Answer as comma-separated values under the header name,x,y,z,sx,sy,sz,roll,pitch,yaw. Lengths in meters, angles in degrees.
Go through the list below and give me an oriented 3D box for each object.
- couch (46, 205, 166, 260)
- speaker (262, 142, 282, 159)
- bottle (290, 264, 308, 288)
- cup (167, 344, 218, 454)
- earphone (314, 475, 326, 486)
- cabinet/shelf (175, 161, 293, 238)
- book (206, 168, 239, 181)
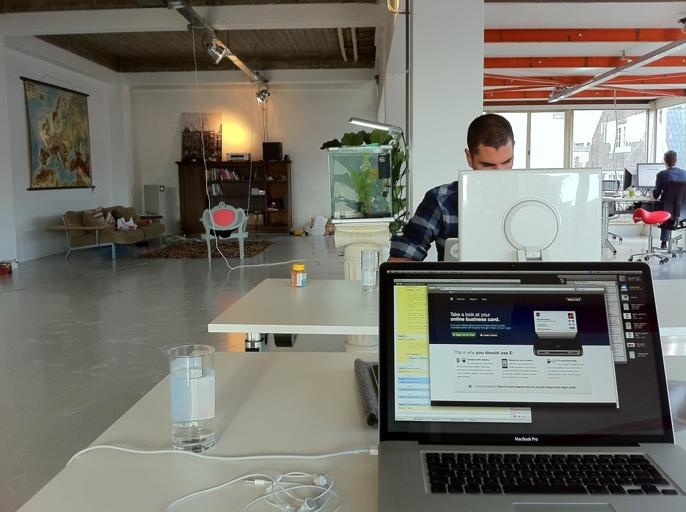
name,x,y,z,sx,sy,sz,roll,pitch,yaw
couch,-4.350,-0.464,9.830,1.484,0.811,2.650,-3,9,-12
speaker,-1.648,-2.417,12.258,0.374,0.422,0.394,2,6,4
bottle,-0.210,0.097,2.638,0.094,0.155,0.093,1,-1,0
cup,-0.345,0.332,1.209,0.094,0.212,0.069,-3,8,-12
earphone,-0.046,0.455,1.070,0.016,0.017,0.029,17,-4,-2
cabinet/shelf,-2.403,-1.340,11.875,1.826,1.398,0.532,0,3,1
book,-2.804,-1.918,12.409,0.749,0.289,0.201,1,9,10
